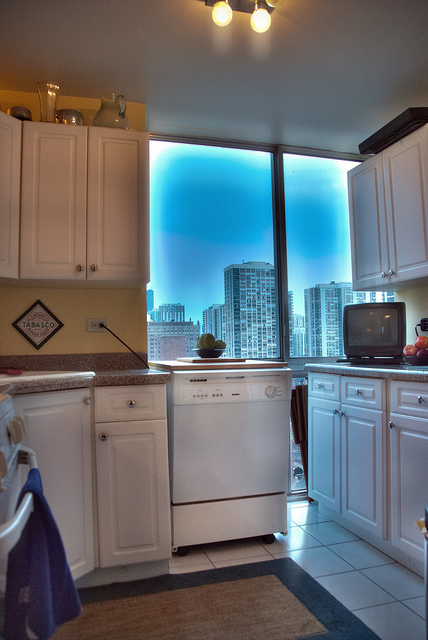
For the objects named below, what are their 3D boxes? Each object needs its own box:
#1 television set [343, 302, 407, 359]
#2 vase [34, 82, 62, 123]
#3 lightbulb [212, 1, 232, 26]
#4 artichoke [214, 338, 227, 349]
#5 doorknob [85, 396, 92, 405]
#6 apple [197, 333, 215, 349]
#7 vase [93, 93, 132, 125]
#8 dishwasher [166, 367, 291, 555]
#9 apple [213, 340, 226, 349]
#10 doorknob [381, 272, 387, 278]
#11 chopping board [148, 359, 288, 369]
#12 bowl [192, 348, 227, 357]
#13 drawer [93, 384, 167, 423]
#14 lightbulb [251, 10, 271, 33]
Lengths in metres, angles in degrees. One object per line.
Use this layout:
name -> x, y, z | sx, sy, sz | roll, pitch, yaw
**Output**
television set -> 0.879, 0.051, 2.689 | 0.321, 0.329, 0.190 | 4, 3, -10
vase -> -0.786, -1.042, 2.328 | 0.110, 0.167, 0.121 | 4, 6, 8
lightbulb -> 0.029, -1.171, 1.837 | 0.054, 0.053, 0.071 | 0, -29, -2
artichoke -> 0.031, 0.131, 2.699 | 0.039, 0.046, 0.053 | 2, 2, 23
doorknob -> -0.488, 0.313, 1.895 | 0.025, 0.023, 0.020 | 4, 0, -19
apple -> -0.036, 0.112, 2.663 | 0.065, 0.092, 0.046 | -2, 13, -16
vase -> -0.494, -1.028, 2.374 | 0.166, 0.174, 0.117 | -2, 5, -29
dishwasher -> 0.010, 0.613, 2.583 | 0.617, 0.847, 0.570 | 0, 4, -19
apple -> 0.031, 0.129, 2.662 | 0.047, 0.042, 0.038 | 0, -1, -44
doorknob -> 0.963, -0.265, 2.743 | 0.019, 0.022, 0.037 | 5, 8, 5
chopping board -> -0.010, 0.204, 2.500 | 0.462, 0.059, 0.298 | 2, 1, -17
bowl -> -0.022, 0.172, 2.663 | 0.158, 0.051, 0.101 | -1, -4, -5
drawer -> -0.344, 0.338, 1.992 | 0.292, 0.148, 0.033 | 0, -4, -21
lightbulb -> 0.181, -1.169, 1.889 | 0.066, 0.060, 0.077 | -1, -4, -5
